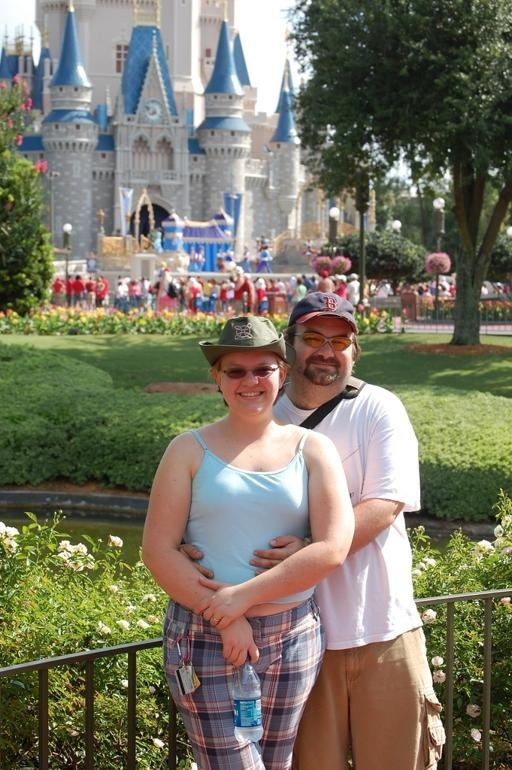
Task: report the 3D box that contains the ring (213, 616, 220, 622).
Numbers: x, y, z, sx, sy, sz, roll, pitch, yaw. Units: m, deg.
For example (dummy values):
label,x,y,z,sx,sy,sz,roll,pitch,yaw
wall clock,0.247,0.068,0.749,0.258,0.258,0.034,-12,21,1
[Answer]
label,x,y,z,sx,sy,sz,roll,pitch,yaw
ring,-0.084,0.511,2.255,0.012,0.014,0.005,6,-18,-27

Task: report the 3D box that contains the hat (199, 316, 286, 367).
label,x,y,z,sx,sy,sz,roll,pitch,yaw
hat,-0.030,-0.112,2.547,0.231,0.108,0.286,-3,-14,-2
